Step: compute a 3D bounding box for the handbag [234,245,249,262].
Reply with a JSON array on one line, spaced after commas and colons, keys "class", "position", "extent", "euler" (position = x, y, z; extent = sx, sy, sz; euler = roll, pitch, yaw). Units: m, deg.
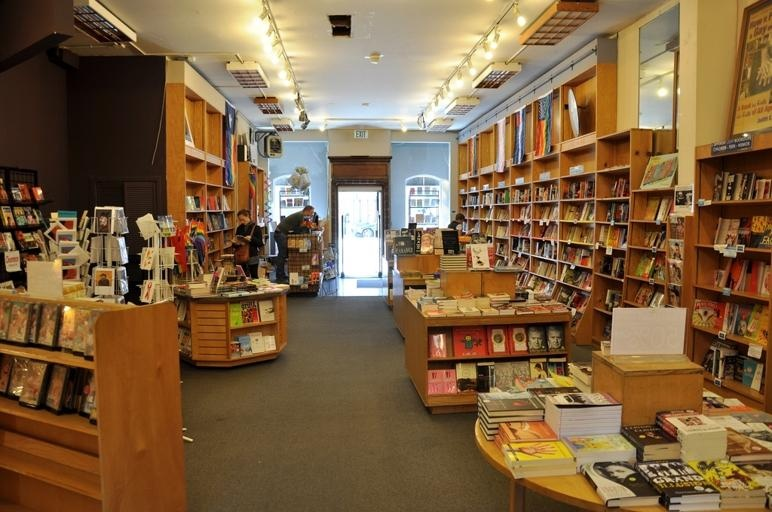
[{"class": "handbag", "position": [-2.866, -0.051, 10.610], "extent": [0.314, 0.449, 0.249], "euler": [2, 9, -6]}]

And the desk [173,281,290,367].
[{"class": "desk", "position": [-2.118, 1.021, 7.508], "extent": [1.248, 0.733, 1.236], "euler": [-2, 3, -28]}]

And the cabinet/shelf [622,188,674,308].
[{"class": "cabinet/shelf", "position": [3.595, -0.328, 7.456], "extent": [0.486, 1.077, 0.238], "euler": [4, -7, 1]}]

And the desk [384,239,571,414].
[{"class": "desk", "position": [1.029, 0.877, 6.603], "extent": [1.411, 1.218, 2.421], "euler": [-1, 1, -9]}]
